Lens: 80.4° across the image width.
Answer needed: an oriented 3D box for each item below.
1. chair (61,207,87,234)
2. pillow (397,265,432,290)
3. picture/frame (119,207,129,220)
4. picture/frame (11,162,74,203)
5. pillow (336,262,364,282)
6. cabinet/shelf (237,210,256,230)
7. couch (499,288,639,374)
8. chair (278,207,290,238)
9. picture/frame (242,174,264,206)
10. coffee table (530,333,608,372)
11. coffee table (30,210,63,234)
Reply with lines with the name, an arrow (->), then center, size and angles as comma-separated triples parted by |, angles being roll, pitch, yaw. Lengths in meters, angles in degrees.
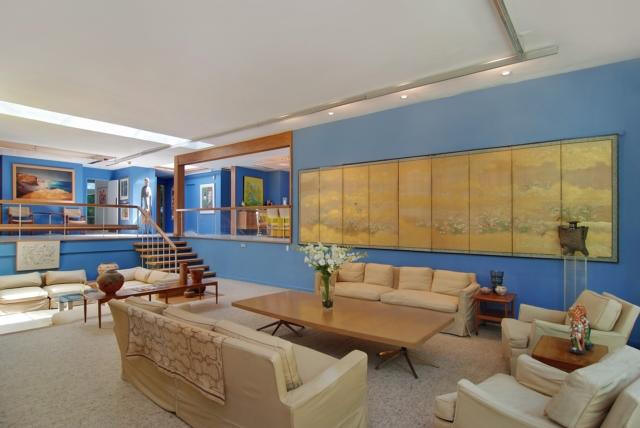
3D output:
chair -> -9.299, 0.219, 14.327 | 0.754, 0.911, 0.719 | 2, -2, -31
pillow -> 1.878, 1.266, 7.524 | 0.622, 0.407, 0.441 | -3, -13, 30
picture/frame -> -7.032, -0.026, 13.627 | 0.423, 0.540, 0.056 | -2, -4, 14
picture/frame -> -10.102, -1.142, 13.640 | 0.051, 1.212, 1.897 | 1, -1, 36
pillow -> 0.668, 1.274, 8.259 | 0.652, 0.425, 0.474 | -3, 2, 22
cabinet/shelf -> -1.961, 0.202, 10.950 | 0.717, 0.656, 0.529 | -4, -5, 42
couch -> 3.644, 1.695, 5.593 | 1.548, 1.386, 1.460 | -2, -3, 36
chair -> -0.932, 0.192, 10.099 | 0.261, 0.802, 0.511 | -2, 14, -8
picture/frame -> -2.710, -1.004, 15.454 | 0.378, 1.241, 1.215 | 7, 16, 26
coffee table -> 2.981, 1.719, 4.651 | 0.531, 0.120, 0.484 | -3, 0, -38
coffee table -> -9.152, 0.267, 12.575 | 0.814, 0.567, 0.825 | 2, 3, 44
